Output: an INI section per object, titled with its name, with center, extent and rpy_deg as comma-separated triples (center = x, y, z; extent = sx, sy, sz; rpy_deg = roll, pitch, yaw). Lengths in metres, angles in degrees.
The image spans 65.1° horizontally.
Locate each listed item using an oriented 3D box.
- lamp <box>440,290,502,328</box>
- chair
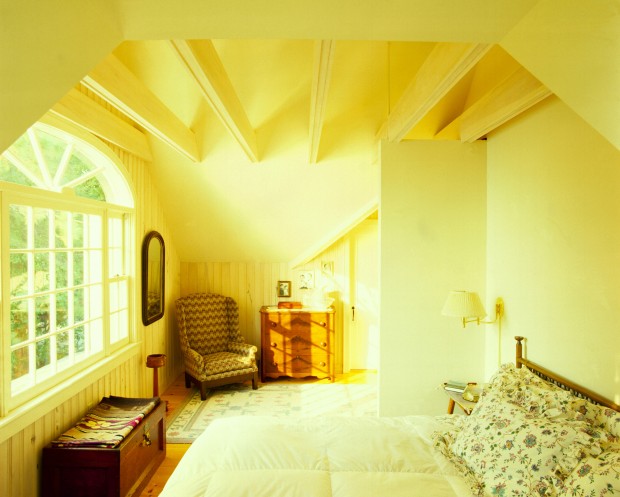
[lamp]
center = 1.235, 0.469, 3.735
extent = 0.412, 0.294, 0.290
rpy_deg = 15, -21, -32
[chair]
center = -1.116, 1.121, 5.612
extent = 0.962, 1.536, 0.949
rpy_deg = 3, -13, -36
